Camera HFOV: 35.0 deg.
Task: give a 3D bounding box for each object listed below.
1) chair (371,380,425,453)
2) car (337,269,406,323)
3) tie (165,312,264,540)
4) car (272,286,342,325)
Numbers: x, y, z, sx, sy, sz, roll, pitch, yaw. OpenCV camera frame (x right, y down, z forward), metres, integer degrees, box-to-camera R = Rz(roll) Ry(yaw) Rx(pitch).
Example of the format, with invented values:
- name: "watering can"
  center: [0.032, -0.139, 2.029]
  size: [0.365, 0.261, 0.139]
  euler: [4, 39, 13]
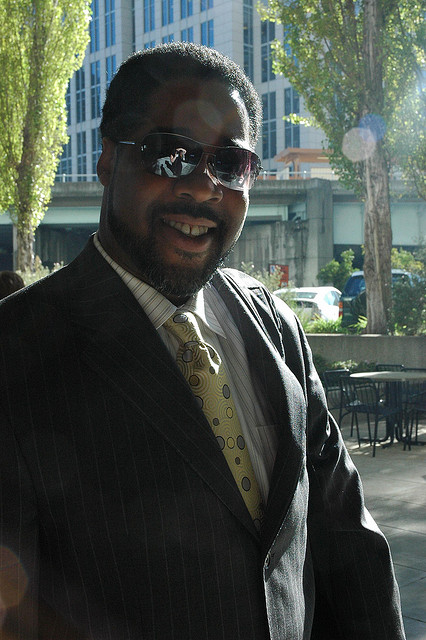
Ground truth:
- name: "chair"
  center: [2.387, 1.257, 8.724]
  size: [0.766, 1.149, 0.766]
  euler: [-1, 8, 12]
- name: "car"
  center: [3.753, -0.682, 17.502]
  size: [0.999, 0.925, 1.787]
  euler: [1, 17, 22]
- name: "tie"
  center: [-0.007, 0.158, 1.233]
  size: [0.120, 0.452, 0.067]
  euler: [8, -42, -29]
- name: "car"
  center: [2.458, -0.407, 17.113]
  size: [1.125, 0.796, 2.397]
  euler: [0, -6, 19]
